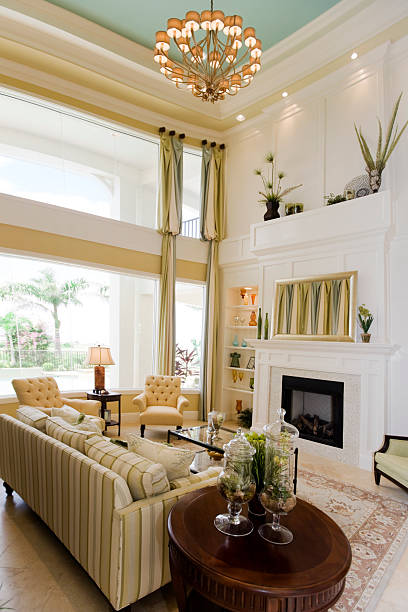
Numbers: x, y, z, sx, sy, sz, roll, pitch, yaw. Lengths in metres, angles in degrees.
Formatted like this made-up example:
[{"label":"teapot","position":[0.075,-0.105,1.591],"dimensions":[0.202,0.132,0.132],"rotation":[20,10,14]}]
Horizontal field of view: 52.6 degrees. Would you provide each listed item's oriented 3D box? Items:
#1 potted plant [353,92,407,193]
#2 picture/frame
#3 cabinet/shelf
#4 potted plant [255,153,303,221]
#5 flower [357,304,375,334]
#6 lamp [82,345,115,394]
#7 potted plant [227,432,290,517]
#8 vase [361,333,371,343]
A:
[{"label":"potted plant","position":[2.026,-1.851,4.815],"dimensions":[0.619,1.139,0.414],"rotation":[5,4,41]},{"label":"picture/frame","position":[1.363,0.032,5.203],"dimensions":[1.056,0.829,0.050],"rotation":[-2,-13,36]},{"label":"cabinet/shelf","position":[0.584,0.787,6.987],"dimensions":[0.570,2.283,0.867],"rotation":[2,3,2]},{"label":"potted plant","position":[1.210,-1.733,6.044],"dimensions":[0.686,0.984,0.651],"rotation":[-5,10,-28]},{"label":"flower","position":[1.809,0.144,4.622],"dimensions":[0.144,0.313,0.246],"rotation":[2,3,-2]},{"label":"lamp","position":[-1.340,0.803,5.373],"dimensions":[0.327,0.650,0.332],"rotation":[2,1,1]},{"label":"potted plant","position":[0.285,0.778,1.997],"dimensions":[0.270,0.474,0.262],"rotation":[0,-1,41]},{"label":"vase","position":[1.764,0.351,4.528],"dimensions":[0.094,0.096,0.100],"rotation":[0,-7,-8]}]
